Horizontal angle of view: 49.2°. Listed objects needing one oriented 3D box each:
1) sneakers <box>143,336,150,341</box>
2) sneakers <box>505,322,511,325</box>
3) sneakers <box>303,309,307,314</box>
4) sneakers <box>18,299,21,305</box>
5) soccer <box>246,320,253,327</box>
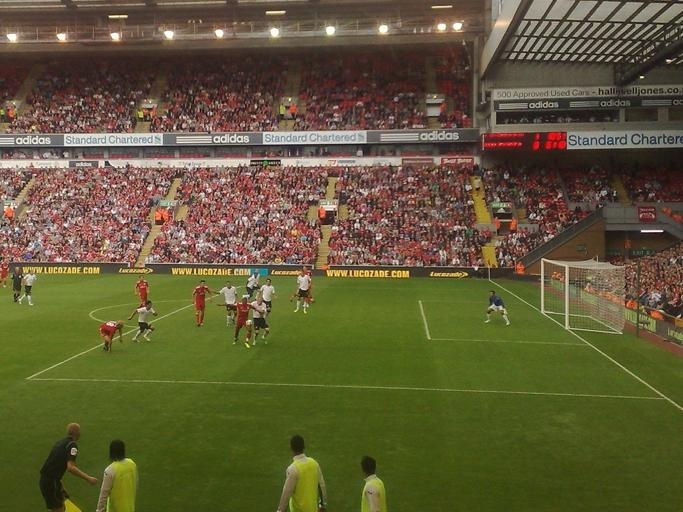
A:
[{"bbox_3d":[-9.916,4.220,38.255,0.462,0.201,0.158,2,5,23],"label":"sneakers"},{"bbox_3d":[9.370,3.763,41.509,0.118,0.170,0.267,-8,2,0],"label":"sneakers"},{"bbox_3d":[-2.107,3.272,44.239,0.210,0.267,0.631,2,6,2],"label":"sneakers"},{"bbox_3d":[-20.158,2.858,46.708,0.231,0.404,0.114,-1,-17,-22],"label":"sneakers"},{"bbox_3d":[-4.562,3.341,37.324,0.212,0.391,0.754,0,10,5],"label":"soccer"}]
